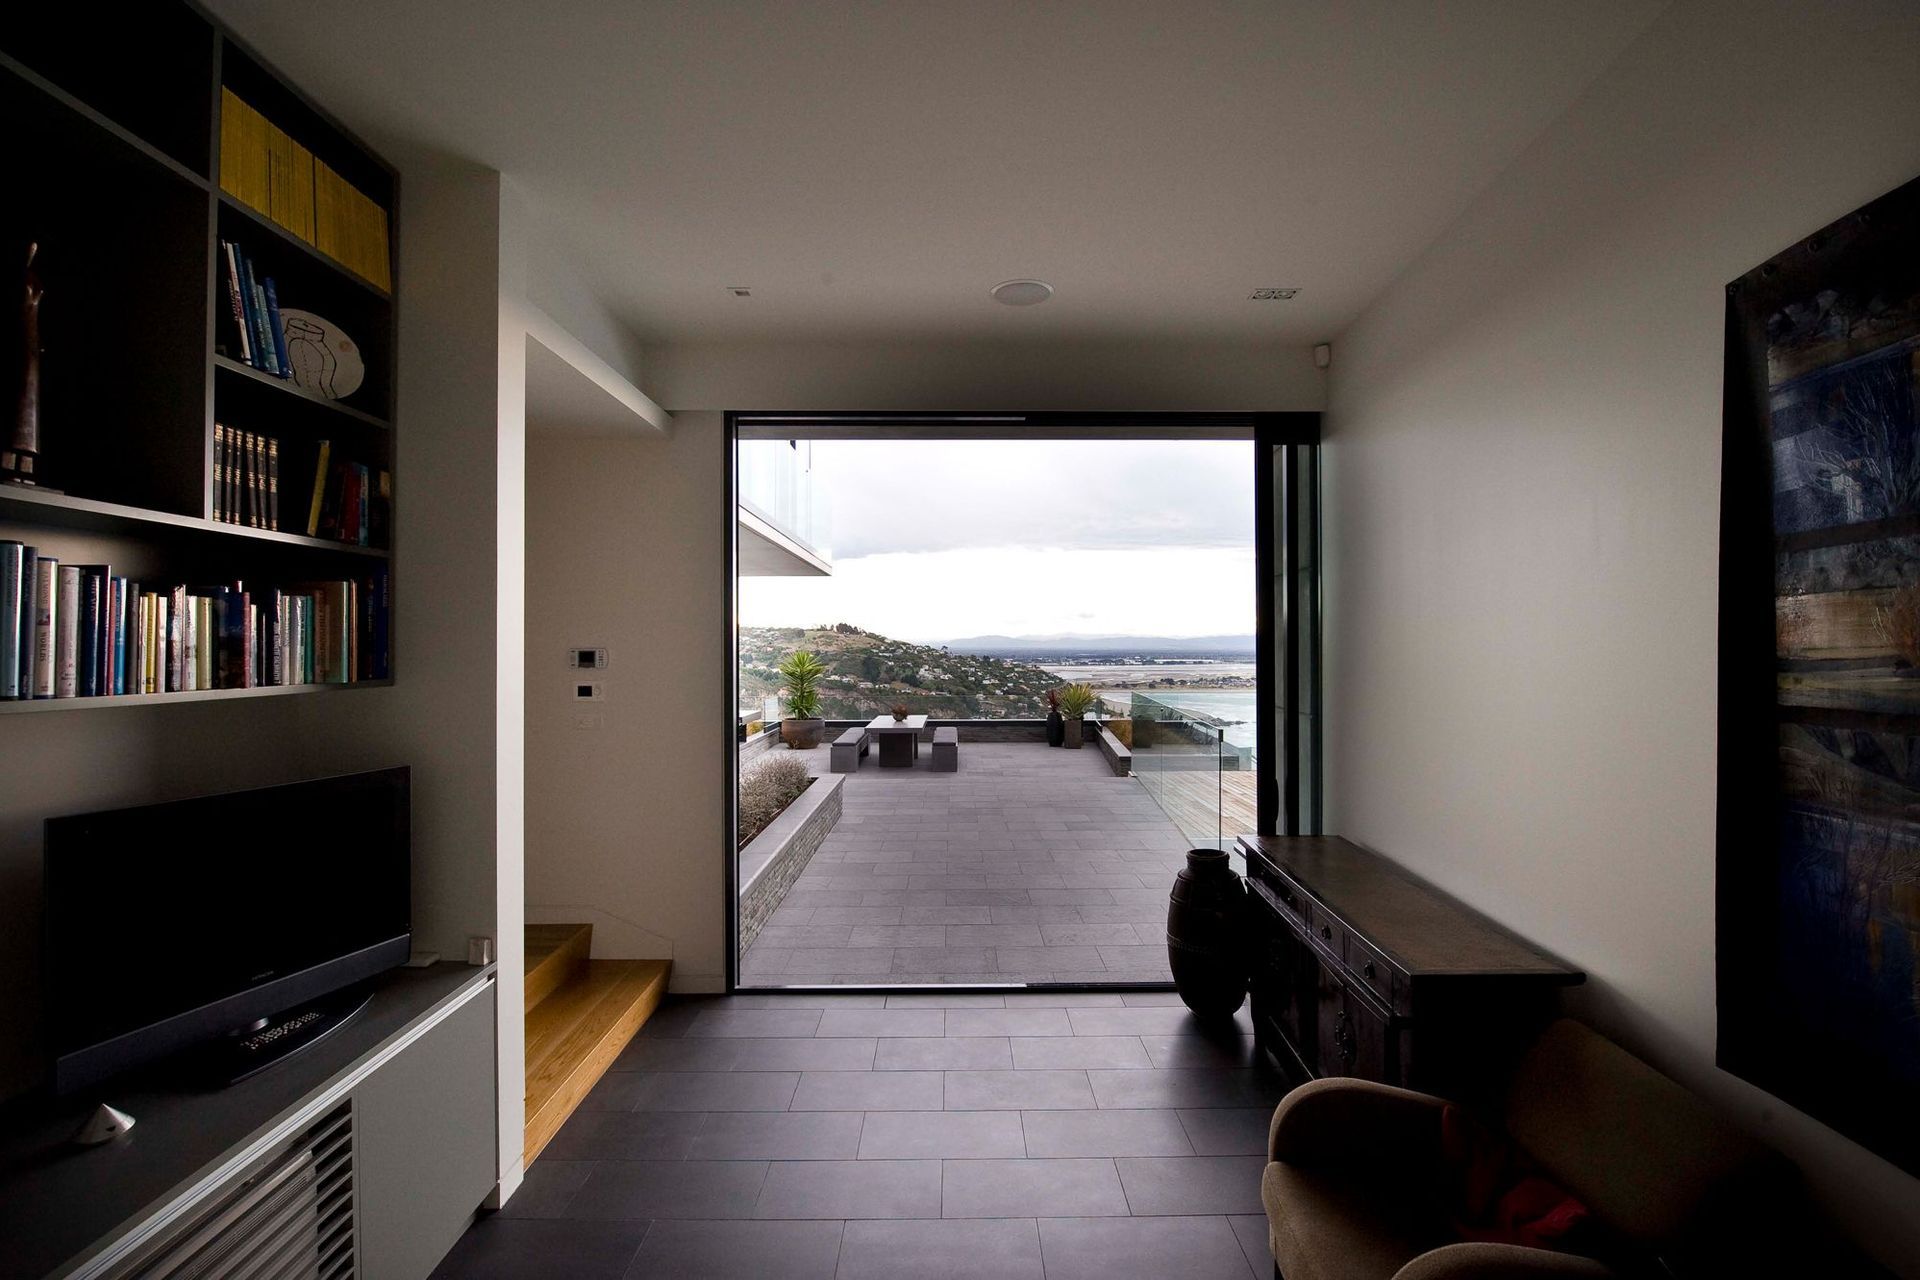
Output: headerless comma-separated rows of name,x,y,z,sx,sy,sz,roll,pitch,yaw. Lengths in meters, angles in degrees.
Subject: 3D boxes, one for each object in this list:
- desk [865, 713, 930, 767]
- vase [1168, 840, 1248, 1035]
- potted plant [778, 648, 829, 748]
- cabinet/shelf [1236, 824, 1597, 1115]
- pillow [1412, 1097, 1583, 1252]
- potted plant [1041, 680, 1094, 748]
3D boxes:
desk,-0.721,1.141,13.140,0.646,0.505,1.100,-1,12,-4
vase,1.071,1.244,4.885,0.340,0.635,0.218,3,12,15
potted plant,-2.027,0.724,14.324,0.439,1.246,0.586,-2,12,-9
cabinet/shelf,1.537,1.341,4.355,0.550,0.844,1.910,0,3,0
pillow,1.488,1.513,3.137,0.265,0.091,0.270,-12,32,15
potted plant,1.395,0.963,15.098,0.674,1.001,0.872,-1,-3,1
